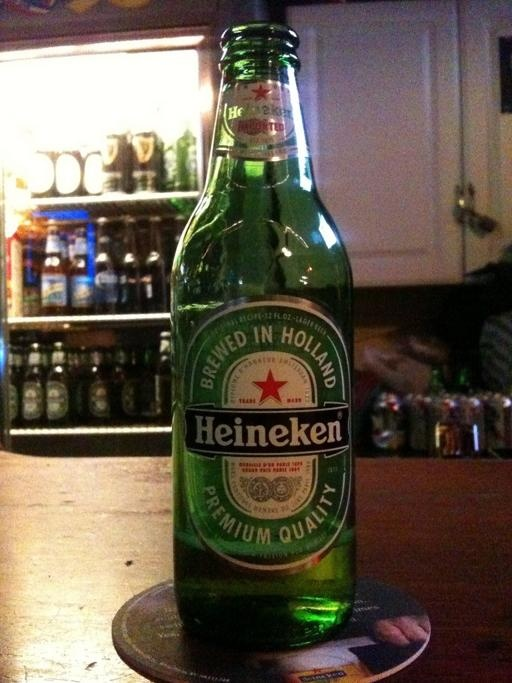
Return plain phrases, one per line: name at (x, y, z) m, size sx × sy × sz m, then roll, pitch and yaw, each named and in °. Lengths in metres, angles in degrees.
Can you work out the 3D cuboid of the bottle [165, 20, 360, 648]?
bottle at (0.001, -0.018, 0.419) m, size 0.111 × 0.331 × 0.126 m, roll 0°, pitch 1°, yaw 4°
